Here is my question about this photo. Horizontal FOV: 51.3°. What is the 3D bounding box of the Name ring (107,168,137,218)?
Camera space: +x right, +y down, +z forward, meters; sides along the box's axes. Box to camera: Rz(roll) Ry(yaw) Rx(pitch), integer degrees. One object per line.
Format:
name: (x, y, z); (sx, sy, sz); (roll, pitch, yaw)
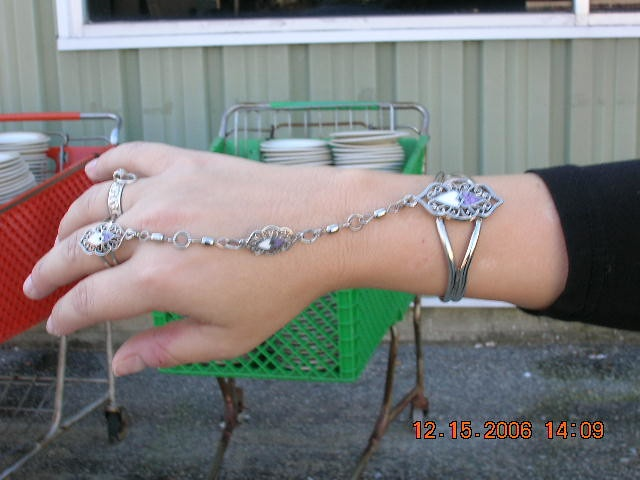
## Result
Name ring: (-0.532, -0.121, 1.777); (0.032, 0.106, 0.092); (11, 22, 3)

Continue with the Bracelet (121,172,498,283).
Bracelet: (0.000, -0.061, 1.743); (0.929, 0.167, 0.106); (-1, 14, 3)

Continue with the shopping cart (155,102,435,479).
shopping cart: (0.118, 0.054, 2.965); (1.081, 1.831, 1.672); (2, 6, 15)
